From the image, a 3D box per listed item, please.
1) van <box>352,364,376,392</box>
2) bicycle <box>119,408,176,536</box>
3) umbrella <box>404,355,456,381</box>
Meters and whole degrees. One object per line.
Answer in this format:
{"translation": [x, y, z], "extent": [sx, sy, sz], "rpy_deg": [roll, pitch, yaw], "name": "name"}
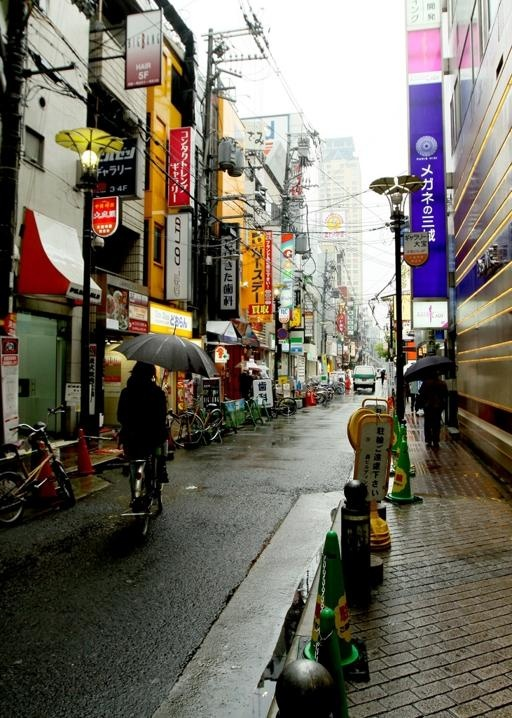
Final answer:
{"translation": [8.867, 1.603, 51.111], "extent": [1.302, 1.388, 2.514], "rpy_deg": [-2, -10, 9], "name": "van"}
{"translation": [-1.243, 1.554, 7.286], "extent": [0.514, 0.765, 1.223], "rpy_deg": [-3, 4, 4], "name": "bicycle"}
{"translation": [3.808, 0.190, 13.595], "extent": [0.789, 0.317, 0.805], "rpy_deg": [-13, 6, -19], "name": "umbrella"}
